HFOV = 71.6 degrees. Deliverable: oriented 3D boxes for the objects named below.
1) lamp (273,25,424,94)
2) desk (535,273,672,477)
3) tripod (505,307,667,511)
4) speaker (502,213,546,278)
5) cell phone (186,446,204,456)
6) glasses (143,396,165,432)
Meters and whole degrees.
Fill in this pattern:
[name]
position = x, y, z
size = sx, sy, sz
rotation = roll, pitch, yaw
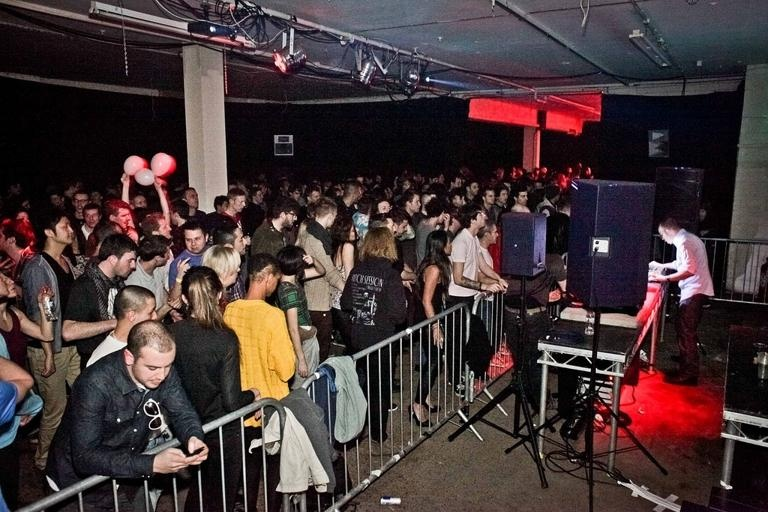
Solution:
[lamp]
position = -0.494, -3.649, 10.215
size = 2.393, 0.817, 4.330
rotation = 3, 9, 11
[desk]
position = 2.451, 1.744, 6.589
size = 1.719, 1.139, 2.680
rotation = 9, -9, 20
[tripod]
position = 2.172, 1.513, 6.117
size = 1.502, 1.894, 1.874
rotation = 2, 3, 43
[speaker]
position = 1.490, -0.127, 5.675
size = 0.525, 0.678, 0.326
rotation = 1, 9, -2
[cell phone]
position = -1.336, 1.387, 3.784
size = 0.127, 0.037, 0.029
rotation = -25, 48, -2
[glasses]
position = -1.676, 1.177, 3.892
size = 0.134, 0.275, 0.168
rotation = -5, 11, -34
